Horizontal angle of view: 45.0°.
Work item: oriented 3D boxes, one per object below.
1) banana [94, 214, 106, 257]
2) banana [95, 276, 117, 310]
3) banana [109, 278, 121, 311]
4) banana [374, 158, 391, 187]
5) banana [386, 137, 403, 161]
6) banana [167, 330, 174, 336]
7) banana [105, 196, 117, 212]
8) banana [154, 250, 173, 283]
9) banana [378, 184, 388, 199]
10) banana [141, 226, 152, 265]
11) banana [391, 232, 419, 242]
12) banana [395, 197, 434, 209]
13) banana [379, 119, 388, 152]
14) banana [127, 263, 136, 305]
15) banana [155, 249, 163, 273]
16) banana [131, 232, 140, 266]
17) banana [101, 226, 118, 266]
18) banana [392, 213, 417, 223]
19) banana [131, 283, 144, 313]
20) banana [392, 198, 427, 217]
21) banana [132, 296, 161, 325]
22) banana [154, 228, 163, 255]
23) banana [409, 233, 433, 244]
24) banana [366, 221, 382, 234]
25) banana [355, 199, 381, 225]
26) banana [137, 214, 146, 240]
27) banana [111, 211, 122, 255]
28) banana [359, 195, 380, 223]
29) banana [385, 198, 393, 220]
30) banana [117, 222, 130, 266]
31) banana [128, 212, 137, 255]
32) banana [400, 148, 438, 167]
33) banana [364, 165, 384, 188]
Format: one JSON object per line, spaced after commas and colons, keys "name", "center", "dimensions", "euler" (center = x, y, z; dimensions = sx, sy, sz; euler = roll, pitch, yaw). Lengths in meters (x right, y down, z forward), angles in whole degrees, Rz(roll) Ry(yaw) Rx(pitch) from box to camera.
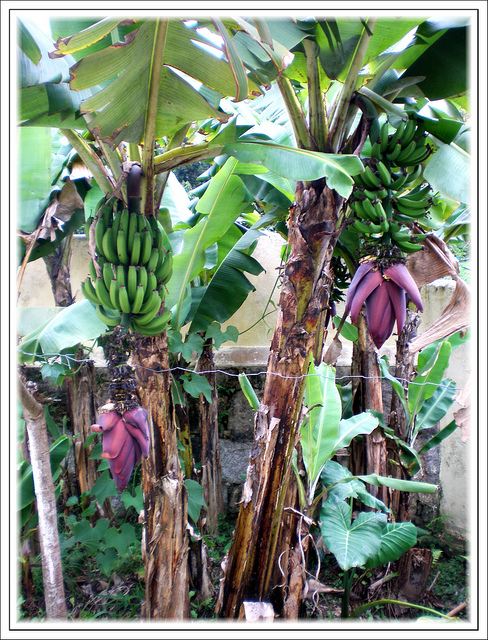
{"name": "banana", "center": [-0.506, -0.309, 2.089], "dimensions": [0.032, 0.129, 0.047], "euler": [-2, -7, 28]}
{"name": "banana", "center": [-0.498, -0.099, 2.144], "dimensions": [0.060, 0.168, 0.038], "euler": [-21, 37, -26]}
{"name": "banana", "center": [-0.447, -0.090, 2.054], "dimensions": [0.040, 0.107, 0.029], "euler": [6, 25, -5]}
{"name": "banana", "center": [0.511, -0.540, 2.147], "dimensions": [0.060, 0.093, 0.044], "euler": [1, -4, -5]}
{"name": "banana", "center": [0.554, -0.630, 2.160], "dimensions": [0.038, 0.062, 0.078], "euler": [2, -5, -14]}
{"name": "banana", "center": [-0.403, 0.063, 3.232], "dimensions": [0.037, 0.011, 0.027], "euler": [34, 6, -9]}
{"name": "banana", "center": [-0.477, -0.427, 2.152], "dimensions": [0.020, 0.070, 0.025], "euler": [32, -22, -32]}
{"name": "banana", "center": [-0.293, -0.192, 2.234], "dimensions": [0.036, 0.153, 0.055], "euler": [20, -4, -33]}
{"name": "banana", "center": [0.510, -0.471, 2.149], "dimensions": [0.024, 0.027, 0.056], "euler": [45, -4, 38]}
{"name": "banana", "center": [-0.346, -0.268, 2.100], "dimensions": [0.031, 0.128, 0.046], "euler": [7, -2, -23]}
{"name": "banana", "center": [0.576, -0.302, 2.119], "dimensions": [0.075, 0.018, 0.030], "euler": [18, 29, 8]}
{"name": "banana", "center": [0.614, -0.429, 2.139], "dimensions": [0.103, 0.022, 0.041], "euler": [9, 29, 40]}
{"name": "banana", "center": [0.509, -0.674, 2.140], "dimensions": [0.025, 0.105, 0.038], "euler": [8, 11, 0]}
{"name": "banana", "center": [-0.392, -0.125, 2.061], "dimensions": [0.029, 0.129, 0.026], "euler": [3, -5, -25]}
{"name": "banana", "center": [-0.309, -0.225, 2.201], "dimensions": [0.019, 0.078, 0.028], "euler": [18, -10, -40]}
{"name": "banana", "center": [-0.382, -0.255, 2.085], "dimensions": [0.028, 0.112, 0.055], "euler": [1, -5, -12]}
{"name": "banana", "center": [-0.469, -0.259, 2.072], "dimensions": [0.040, 0.154, 0.056], "euler": [15, 19, 40]}
{"name": "banana", "center": [0.591, -0.381, 2.172], "dimensions": [0.080, 0.030, 0.019], "euler": [16, -41, -5]}
{"name": "banana", "center": [-0.379, -0.079, 2.093], "dimensions": [0.027, 0.116, 0.031], "euler": [43, 34, 26]}
{"name": "banana", "center": [0.604, -0.414, 2.144], "dimensions": [0.152, 0.060, 0.024], "euler": [11, -28, 43]}
{"name": "banana", "center": [-0.345, -0.029, 2.132], "dimensions": [0.085, 0.106, 0.028], "euler": [-9, 43, -22]}
{"name": "banana", "center": [-0.306, -0.297, 2.164], "dimensions": [0.030, 0.085, 0.020], "euler": [-5, 6, 33]}
{"name": "banana", "center": [0.704, -0.329, 2.340], "dimensions": [0.087, 0.040, 0.226], "euler": [1, 7, 30]}
{"name": "banana", "center": [0.475, -0.332, 2.150], "dimensions": [0.033, 0.022, 0.088], "euler": [34, 8, 36]}
{"name": "banana", "center": [0.456, -0.400, 2.147], "dimensions": [0.040, 0.114, 0.023], "euler": [-31, 10, -17]}
{"name": "banana", "center": [-0.362, -0.335, 2.104], "dimensions": [0.023, 0.081, 0.029], "euler": [-3, -3, -3]}
{"name": "banana", "center": [-0.447, -0.314, 2.063], "dimensions": [0.028, 0.132, 0.045], "euler": [10, -10, -13]}
{"name": "banana", "center": [0.457, -0.397, 2.153], "dimensions": [0.032, 0.133, 0.047], "euler": [-35, 4, 27]}
{"name": "banana", "center": [0.531, -0.406, 2.150], "dimensions": [0.024, 0.085, 0.019], "euler": [19, -20, -20]}
{"name": "banana", "center": [-0.425, -0.257, 2.086], "dimensions": [0.033, 0.114, 0.065], "euler": [0, -5, 3]}
{"name": "banana", "center": [-0.394, -0.315, 2.089], "dimensions": [0.035, 0.132, 0.026], "euler": [12, -11, -14]}
{"name": "banana", "center": [0.673, -0.614, 2.235], "dimensions": [0.117, 0.039, 0.285], "euler": [20, 29, 28]}
{"name": "banana", "center": [0.480, -0.529, 2.158], "dimensions": [0.023, 0.084, 0.033], "euler": [-38, -2, -12]}
